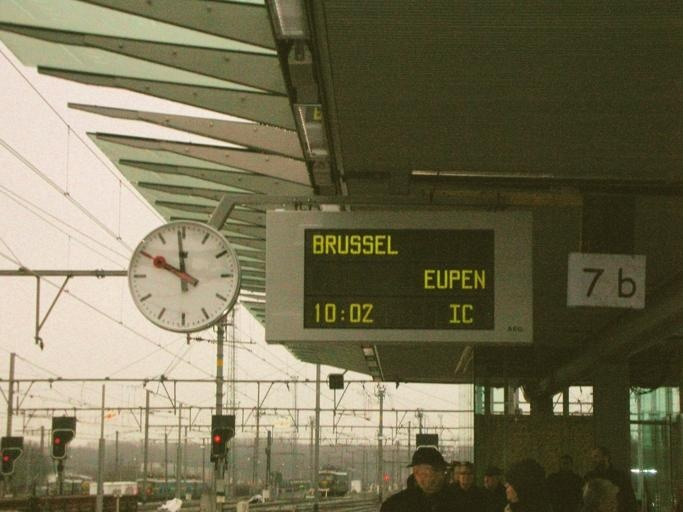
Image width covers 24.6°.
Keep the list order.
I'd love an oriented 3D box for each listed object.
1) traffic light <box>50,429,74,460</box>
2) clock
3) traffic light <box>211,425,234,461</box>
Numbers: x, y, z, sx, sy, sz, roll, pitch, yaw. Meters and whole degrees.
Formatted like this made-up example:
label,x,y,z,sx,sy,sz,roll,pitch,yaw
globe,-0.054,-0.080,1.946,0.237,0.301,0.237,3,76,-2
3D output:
label,x,y,z,sx,sy,sz,roll,pitch,yaw
traffic light,-6.626,4.616,37.396,0.510,0.661,0.797,4,-19,-10
clock,-2.476,0.360,24.960,1.590,1.621,0.265,-11,-7,0
traffic light,-3.011,4.731,39.765,0.518,0.857,0.435,0,21,-8
